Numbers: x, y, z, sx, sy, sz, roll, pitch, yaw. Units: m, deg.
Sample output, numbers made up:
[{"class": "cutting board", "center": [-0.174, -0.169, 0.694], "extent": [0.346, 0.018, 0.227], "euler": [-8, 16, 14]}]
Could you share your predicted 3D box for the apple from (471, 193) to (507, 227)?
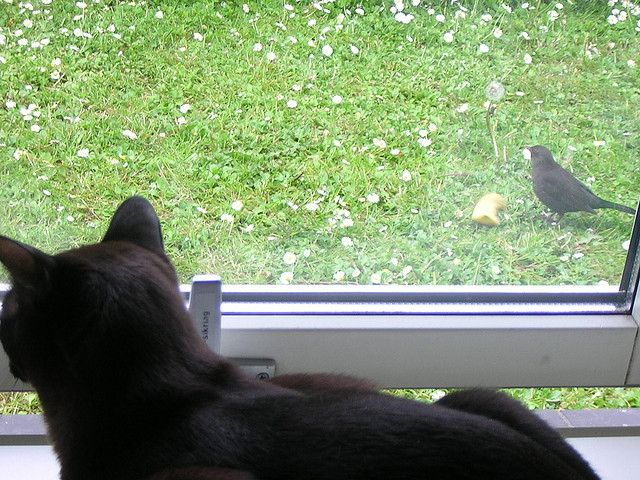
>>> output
[{"class": "apple", "center": [0.387, -0.073, 1.494], "extent": [0.067, 0.030, 0.079], "euler": [11, 62, 18]}]

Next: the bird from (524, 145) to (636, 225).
[{"class": "bird", "center": [0.551, -0.116, 1.430], "extent": [0.264, 0.157, 0.064], "euler": [17, 26, 39]}]
